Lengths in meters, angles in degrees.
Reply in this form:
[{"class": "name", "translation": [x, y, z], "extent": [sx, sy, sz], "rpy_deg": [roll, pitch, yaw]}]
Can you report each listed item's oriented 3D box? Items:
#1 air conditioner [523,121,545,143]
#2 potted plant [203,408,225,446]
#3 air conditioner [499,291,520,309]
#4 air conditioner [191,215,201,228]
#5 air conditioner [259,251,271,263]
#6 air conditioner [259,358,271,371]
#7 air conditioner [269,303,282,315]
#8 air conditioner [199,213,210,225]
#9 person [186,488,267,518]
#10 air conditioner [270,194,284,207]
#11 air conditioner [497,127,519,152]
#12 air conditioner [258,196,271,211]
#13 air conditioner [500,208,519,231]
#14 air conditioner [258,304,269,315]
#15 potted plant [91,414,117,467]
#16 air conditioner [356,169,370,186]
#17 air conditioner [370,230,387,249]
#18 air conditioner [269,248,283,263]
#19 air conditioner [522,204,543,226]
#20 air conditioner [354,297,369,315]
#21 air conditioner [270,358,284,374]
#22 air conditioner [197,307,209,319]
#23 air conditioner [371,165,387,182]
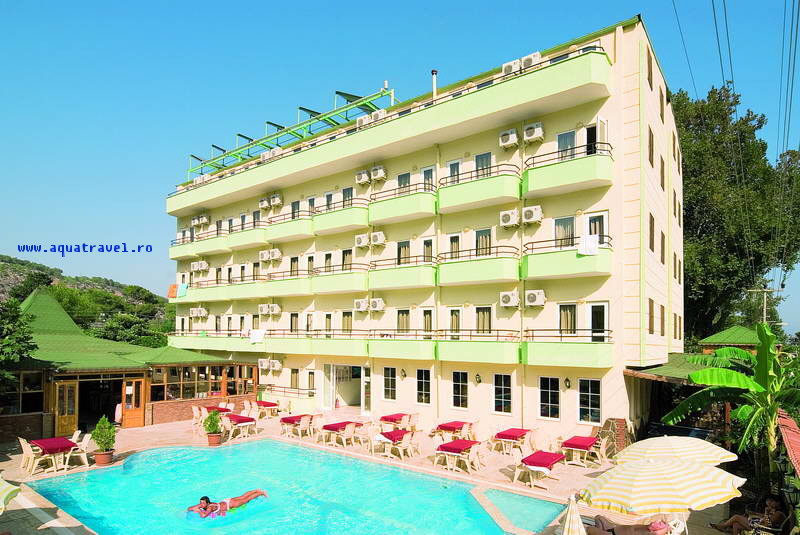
[{"class": "air conditioner", "translation": [7.985, -8.001, 39.055], "extent": [1.123, 0.931, 0.581], "rpy_deg": [-10, -25, 37]}, {"class": "potted plant", "translation": [-10.942, 9.441, 39.298], "extent": [0.953, 1.977, 1.009], "rpy_deg": [-12, -19, 40]}, {"class": "air conditioner", "translation": [6.564, 1.812, 39.528], "extent": [1.207, 0.947, 0.660], "rpy_deg": [-5, -15, 21]}, {"class": "air conditioner", "translation": [-18.272, -4.223, 59.388], "extent": [1.118, 1.023, 0.597], "rpy_deg": [-4, -1, 32]}, {"class": "air conditioner", "translation": [-10.514, -0.977, 51.969], "extent": [0.774, 0.858, 1.575], "rpy_deg": [9, -16, -31]}, {"class": "air conditioner", "translation": [-10.452, 7.381, 51.303], "extent": [0.712, 0.874, 1.641], "rpy_deg": [8, -16, -29]}, {"class": "air conditioner", "translation": [-9.557, 3.062, 50.977], "extent": [0.866, 0.812, 0.447], "rpy_deg": [-4, -15, 28]}, {"class": "air conditioner", "translation": [-17.278, -4.344, 58.520], "extent": [0.921, 0.940, 0.584], "rpy_deg": [-12, -18, 39]}, {"class": "person", "translation": [-8.186, 11.054, 31.663], "extent": [2.995, 0.959, 1.212], "rpy_deg": [-7, 9, -30]}, {"class": "air conditioner", "translation": [-9.524, -5.290, 51.467], "extent": [0.949, 0.890, 0.494], "rpy_deg": [-9, -13, 40]}, {"class": "air conditioner", "translation": [6.575, -7.837, 40.012], "extent": [1.240, 1.206, 0.844], "rpy_deg": [-8, -16, 30]}, {"class": "air conditioner", "translation": [-10.708, -5.147, 52.465], "extent": [1.180, 1.124, 0.641], "rpy_deg": [-8, -14, 33]}, {"class": "air conditioner", "translation": [6.583, -2.995, 39.727], "extent": [1.228, 1.006, 0.937], "rpy_deg": [-7, -16, 25]}, {"class": "air conditioner", "translation": [-10.596, 3.191, 51.661], "extent": [0.917, 0.863, 0.881], "rpy_deg": [-1, -3, -7]}, {"class": "potted plant", "translation": [-15.982, 9.229, 35.720], "extent": [1.159, 2.558, 1.152], "rpy_deg": [6, -15, -23]}, {"class": "air conditioner", "translation": [-2.526, -6.333, 46.111], "extent": [1.151, 0.855, 0.707], "rpy_deg": [-7, -16, 27]}, {"class": "air conditioner", "translation": [-1.419, -1.977, 45.037], "extent": [1.165, 1.075, 0.609], "rpy_deg": [-10, -11, 39]}, {"class": "air conditioner", "translation": [-9.661, -1.130, 51.467], "extent": [1.013, 0.910, 0.745], "rpy_deg": [-9, -17, 32]}, {"class": "air conditioner", "translation": [7.876, -3.212, 39.150], "extent": [1.209, 1.056, 0.721], "rpy_deg": [-3, -14, 12]}, {"class": "air conditioner", "translation": [-2.617, 2.495, 45.819], "extent": [0.691, 1.065, 1.372], "rpy_deg": [12, -19, -41]}, {"class": "air conditioner", "translation": [-9.323, 7.470, 50.765], "extent": [1.236, 1.186, 0.934], "rpy_deg": [-7, -11, 40]}, {"class": "air conditioner", "translation": [-17.214, 3.852, 57.922], "extent": [0.939, 0.877, 0.495], "rpy_deg": [-7, -10, 34]}, {"class": "air conditioner", "translation": [-1.386, -6.478, 45.339], "extent": [0.745, 0.924, 1.146], "rpy_deg": [12, -19, -40]}]
